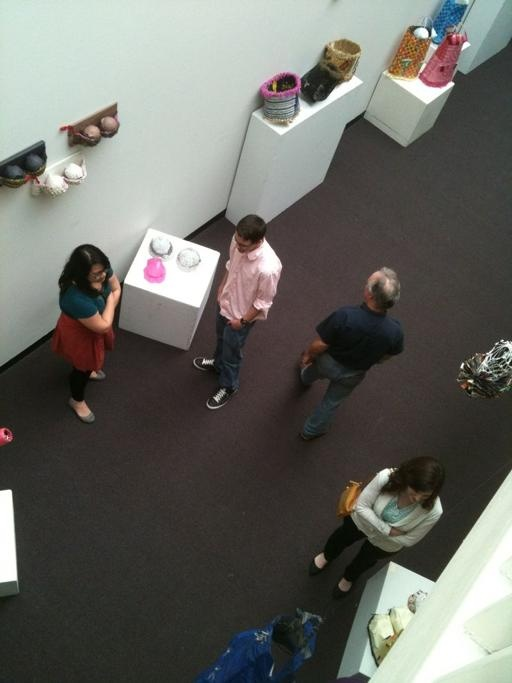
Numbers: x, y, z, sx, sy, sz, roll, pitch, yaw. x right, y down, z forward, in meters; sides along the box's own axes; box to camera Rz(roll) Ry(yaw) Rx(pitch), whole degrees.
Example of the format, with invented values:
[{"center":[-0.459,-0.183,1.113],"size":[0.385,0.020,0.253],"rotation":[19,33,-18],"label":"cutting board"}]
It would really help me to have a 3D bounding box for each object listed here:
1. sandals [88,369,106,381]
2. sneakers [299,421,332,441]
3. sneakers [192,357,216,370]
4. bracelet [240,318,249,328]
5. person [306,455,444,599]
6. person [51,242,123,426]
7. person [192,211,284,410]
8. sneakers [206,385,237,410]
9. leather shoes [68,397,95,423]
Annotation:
[{"center":[-1.023,0.216,3.572],"size":[0.132,0.048,0.065],"rotation":[4,56,0],"label":"sandals"},{"center":[0.397,0.599,3.638],"size":[0.199,0.094,0.110],"rotation":[-14,85,9],"label":"sneakers"},{"center":[-0.370,0.159,3.815],"size":[0.189,0.073,0.061],"rotation":[1,88,-37],"label":"sneakers"},{"center":[-0.065,-0.110,3.158],"size":[0.035,0.035,0.045],"rotation":[-1,83,23],"label":"bracelet"},{"center":[0.578,0.946,2.707],"size":[0.316,1.117,0.249],"rotation":[31,42,11],"label":"person"},{"center":[-0.947,-0.060,3.013],"size":[0.307,1.341,0.411],"rotation":[10,50,-14],"label":"person"},{"center":[-0.138,-0.142,3.271],"size":[0.422,1.438,0.325],"rotation":[38,49,11],"label":"person"},{"center":[-0.241,0.383,3.668],"size":[0.260,0.108,0.092],"rotation":[-35,89,-27],"label":"sneakers"},{"center":[-1.094,0.431,3.400],"size":[0.145,0.102,0.063],"rotation":[42,62,9],"label":"leather shoes"}]
